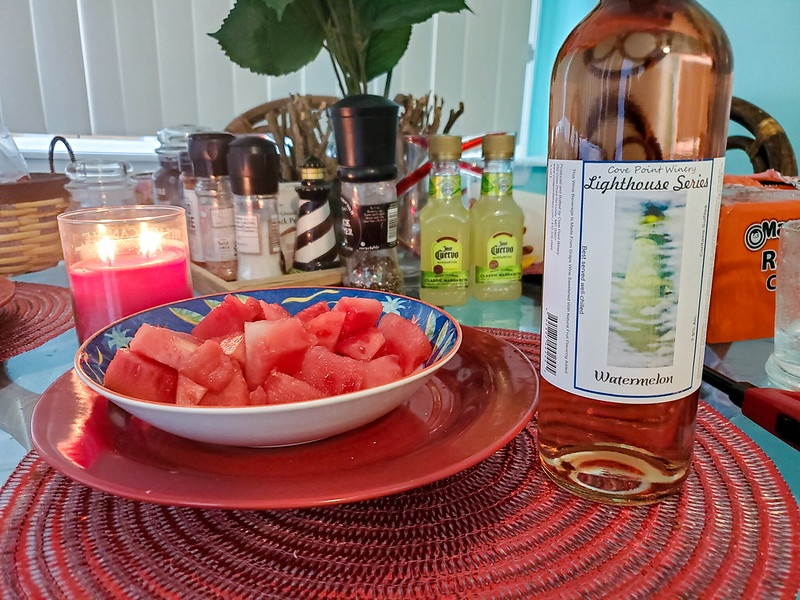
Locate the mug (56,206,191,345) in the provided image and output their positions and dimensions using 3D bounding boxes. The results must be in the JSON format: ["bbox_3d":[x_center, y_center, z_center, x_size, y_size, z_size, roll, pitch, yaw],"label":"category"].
[{"bbox_3d":[-0.334,-0.046,0.880,0.193,0.205,0.187,-1,12,0],"label":"mug"}]

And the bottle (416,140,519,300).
[{"bbox_3d":[0.113,-0.122,0.947,0.164,0.262,0.069,-1,17,1],"label":"bottle"}]

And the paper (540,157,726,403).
[{"bbox_3d":[0.178,-0.016,0.478,0.125,0.183,0.068,5,18,21],"label":"paper"}]

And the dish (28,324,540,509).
[{"bbox_3d":[-0.092,0.106,0.546,0.469,0.043,0.242,-4,15,-11],"label":"dish"}]

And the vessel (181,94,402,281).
[{"bbox_3d":[-0.148,-0.165,0.948,0.280,0.288,0.292,-8,17,-23],"label":"vessel"}]
